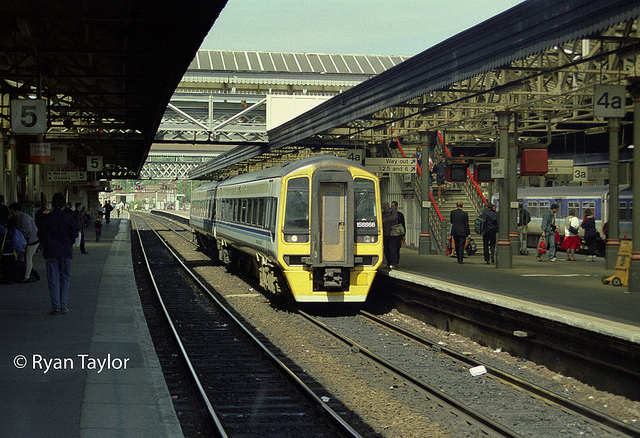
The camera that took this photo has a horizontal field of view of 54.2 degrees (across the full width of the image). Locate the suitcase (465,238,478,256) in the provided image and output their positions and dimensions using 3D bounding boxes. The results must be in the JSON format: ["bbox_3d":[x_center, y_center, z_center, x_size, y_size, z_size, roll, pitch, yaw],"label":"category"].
[{"bbox_3d":[5.486,1.034,22.564,0.333,0.428,0.607,-6,35,12],"label":"suitcase"}]

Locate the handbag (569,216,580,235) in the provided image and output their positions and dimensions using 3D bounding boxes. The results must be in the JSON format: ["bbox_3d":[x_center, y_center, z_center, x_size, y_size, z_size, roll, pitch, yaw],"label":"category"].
[{"bbox_3d":[9.472,0.363,23.148,0.220,0.361,0.333,5,44,-1],"label":"handbag"}]

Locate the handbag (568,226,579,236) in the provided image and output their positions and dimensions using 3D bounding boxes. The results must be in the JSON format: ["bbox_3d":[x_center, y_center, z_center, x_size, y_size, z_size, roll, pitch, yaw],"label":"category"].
[{"bbox_3d":[9.468,0.424,23.221,0.289,0.311,0.280,2,3,20],"label":"handbag"}]

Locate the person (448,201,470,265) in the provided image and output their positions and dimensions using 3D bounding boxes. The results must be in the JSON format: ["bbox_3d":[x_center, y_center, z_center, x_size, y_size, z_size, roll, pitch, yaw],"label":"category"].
[{"bbox_3d":[4.569,0.432,20.382,0.574,1.991,1.270,2,3,11],"label":"person"}]

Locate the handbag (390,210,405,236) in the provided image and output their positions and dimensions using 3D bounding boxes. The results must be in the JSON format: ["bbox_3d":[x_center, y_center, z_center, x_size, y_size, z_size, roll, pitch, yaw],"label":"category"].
[{"bbox_3d":[2.271,0.250,18.401,0.418,0.542,0.310,6,-14,-44],"label":"handbag"}]
